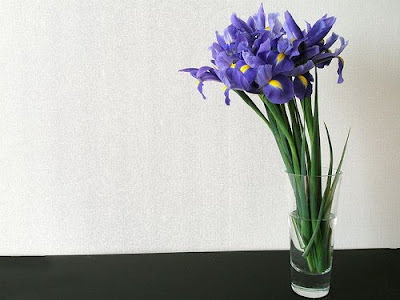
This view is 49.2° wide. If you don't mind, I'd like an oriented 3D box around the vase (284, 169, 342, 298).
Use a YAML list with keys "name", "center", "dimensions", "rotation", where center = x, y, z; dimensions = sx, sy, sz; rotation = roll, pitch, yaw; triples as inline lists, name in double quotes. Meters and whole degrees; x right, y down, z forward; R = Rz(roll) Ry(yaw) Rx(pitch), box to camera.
- name: "vase"
  center: [0.425, 0.310, 1.614]
  dimensions: [0.187, 0.474, 0.133]
  rotation: [0, 12, 15]
